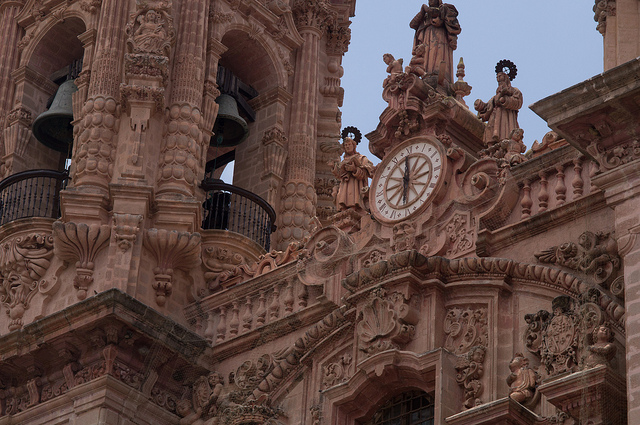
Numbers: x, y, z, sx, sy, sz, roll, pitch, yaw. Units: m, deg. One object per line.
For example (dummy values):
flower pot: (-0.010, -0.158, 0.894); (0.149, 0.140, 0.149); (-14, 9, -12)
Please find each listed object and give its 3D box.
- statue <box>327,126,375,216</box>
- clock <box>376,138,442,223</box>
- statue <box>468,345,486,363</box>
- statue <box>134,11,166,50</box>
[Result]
statue: (0.822, -1.037, 36.226); (1.111, 2.540, 0.945); (-2, -42, 5)
clock: (2.181, -0.801, 35.084); (2.096, 2.444, 0.252); (-8, -36, 36)
statue: (3.557, 3.216, 32.091); (0.305, 0.220, 0.389); (10, -12, -44)
statue: (-4.833, -5.258, 40.777); (0.966, 1.469, 0.409); (2, -24, -4)
